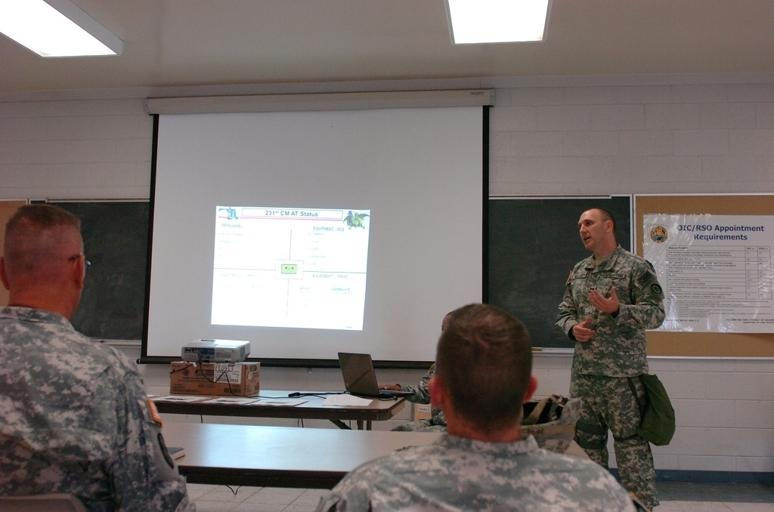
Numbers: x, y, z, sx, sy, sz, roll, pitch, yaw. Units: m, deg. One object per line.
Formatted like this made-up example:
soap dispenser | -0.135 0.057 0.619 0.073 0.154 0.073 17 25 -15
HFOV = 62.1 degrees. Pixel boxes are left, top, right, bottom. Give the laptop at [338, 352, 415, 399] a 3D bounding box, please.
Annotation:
laptop | -0.075 0.867 4.884 0.298 0.356 0.479 -10 8 -38

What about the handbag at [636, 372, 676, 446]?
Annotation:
handbag | 1.836 1.038 4.385 0.167 0.428 0.361 -1 -5 27
